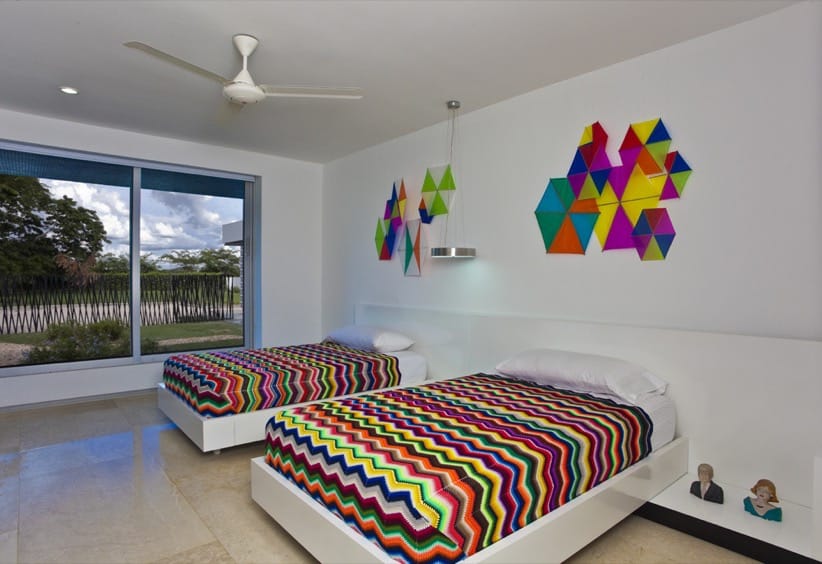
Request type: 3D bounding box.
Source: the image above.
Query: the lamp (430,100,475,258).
[{"bbox_3d":[0.403,-0.965,5.082,0.437,1.568,0.736,-1,14,3],"label":"lamp"}]

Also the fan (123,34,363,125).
[{"bbox_3d":[-1.276,-1.543,3.945,0.857,0.286,0.875,4,-9,-6],"label":"fan"}]
